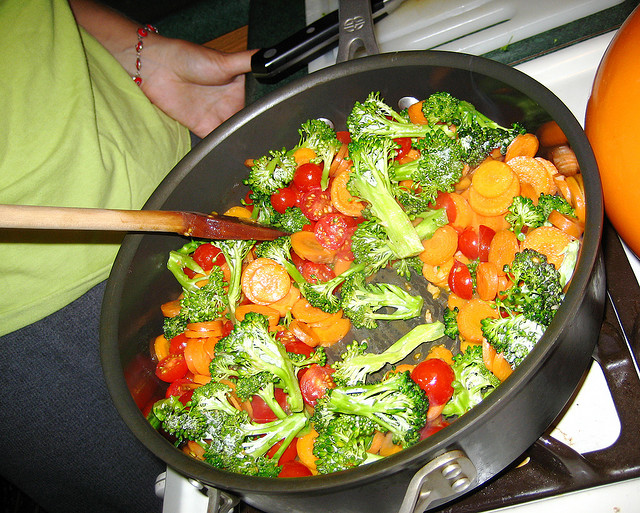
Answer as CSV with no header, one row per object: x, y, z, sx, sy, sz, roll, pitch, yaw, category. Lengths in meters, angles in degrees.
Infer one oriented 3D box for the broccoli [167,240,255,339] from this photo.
-0.356,0.124,1.840,0.109,0.251,0.343,-41,60,30,broccoli

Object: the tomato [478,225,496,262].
0.487,-0.037,1.728,0.047,0.065,0.092,12,74,-19,tomato

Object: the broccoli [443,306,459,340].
0.380,0.193,1.668,0.018,0.065,0.076,13,75,-26,broccoli

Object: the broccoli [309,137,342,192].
0.023,-0.316,1.818,0.115,0.097,0.189,-9,34,4,broccoli

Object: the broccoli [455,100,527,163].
0.486,-0.366,1.660,0.190,0.087,0.164,4,90,15,broccoli

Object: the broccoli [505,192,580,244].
0.614,-0.123,1.635,0.153,0.146,0.040,-37,113,5,broccoli

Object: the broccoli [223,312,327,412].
-0.115,0.344,1.615,0.299,0.388,0.173,10,102,-11,broccoli

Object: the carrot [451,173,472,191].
0.442,-0.228,1.779,0.048,0.041,0.061,-16,38,17,carrot

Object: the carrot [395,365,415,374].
0.241,0.323,1.659,0.029,0.035,0.015,-5,99,6,carrot

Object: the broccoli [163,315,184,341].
-0.469,0.226,1.816,0.065,0.028,0.073,6,83,3,broccoli

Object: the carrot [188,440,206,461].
-0.363,0.566,1.684,0.021,0.060,0.052,-38,78,-12,carrot

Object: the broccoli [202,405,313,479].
-0.184,0.522,1.611,0.220,0.122,0.188,-17,74,-12,broccoli

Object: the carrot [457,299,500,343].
0.434,0.185,1.626,0.099,0.022,0.119,-1,81,34,carrot

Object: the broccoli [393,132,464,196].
0.343,-0.269,1.747,0.192,0.093,0.161,-18,71,36,broccoli

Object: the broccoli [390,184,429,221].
0.271,-0.181,1.803,0.124,0.065,0.073,42,53,10,broccoli

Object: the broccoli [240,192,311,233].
-0.171,-0.164,1.933,0.136,0.261,0.130,-3,83,25,broccoli

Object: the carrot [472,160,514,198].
0.533,-0.232,1.717,0.122,0.125,0.032,2,57,-39,carrot

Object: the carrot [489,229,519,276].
0.520,-0.018,1.644,0.070,0.027,0.129,2,71,46,carrot

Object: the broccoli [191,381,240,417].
-0.304,0.447,1.672,0.135,0.116,0.063,9,38,-17,broccoli

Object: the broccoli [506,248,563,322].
0.563,0.078,1.508,0.126,0.080,0.179,13,92,35,broccoli

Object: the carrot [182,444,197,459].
-0.381,0.561,1.697,0.025,0.037,0.046,-32,84,-33,carrot

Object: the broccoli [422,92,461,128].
0.370,-0.442,1.734,0.100,0.032,0.117,9,92,8,broccoli

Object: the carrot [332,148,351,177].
0.072,-0.306,1.884,0.015,0.063,0.071,22,56,-17,carrot

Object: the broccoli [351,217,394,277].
0.161,-0.035,1.764,0.125,0.062,0.157,33,101,5,broccoli

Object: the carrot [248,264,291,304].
-0.161,0.084,1.836,0.131,0.022,0.123,-15,84,3,carrot

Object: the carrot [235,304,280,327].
-0.198,0.181,1.822,0.121,0.034,0.071,6,77,5,carrot

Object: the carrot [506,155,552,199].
0.627,-0.235,1.694,0.111,0.029,0.123,5,102,46,carrot

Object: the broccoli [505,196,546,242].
0.582,-0.108,1.658,0.098,0.118,0.036,15,73,7,broccoli

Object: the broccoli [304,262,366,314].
0.050,0.108,1.792,0.180,0.080,0.135,-38,56,-14,broccoli

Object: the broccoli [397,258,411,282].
0.269,0.043,1.791,0.036,0.018,0.067,8,99,5,broccoli

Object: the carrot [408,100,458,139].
0.362,-0.442,1.797,0.058,0.122,0.139,-40,82,-22,carrot

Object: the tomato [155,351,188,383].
-0.453,0.340,1.757,0.079,0.055,0.089,8,48,7,tomato

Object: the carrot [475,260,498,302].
0.470,0.071,1.620,0.031,0.096,0.122,3,83,-16,carrot

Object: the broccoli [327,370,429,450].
0.153,0.407,1.589,0.265,0.233,0.171,1,101,0,broccoli

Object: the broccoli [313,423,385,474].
0.078,0.474,1.533,0.147,0.115,0.093,-12,100,-27,broccoli

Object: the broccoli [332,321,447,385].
0.193,0.290,1.690,0.281,0.069,0.176,-29,29,-10,broccoli

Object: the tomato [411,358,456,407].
0.324,0.337,1.632,0.107,0.118,0.128,8,62,23,tomato

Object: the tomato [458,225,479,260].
0.448,-0.040,1.729,0.057,0.065,0.085,-27,86,22,tomato

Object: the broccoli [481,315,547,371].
0.508,0.196,1.551,0.139,0.096,0.133,41,89,7,broccoli

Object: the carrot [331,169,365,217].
0.078,-0.200,1.836,0.122,0.021,0.141,10,96,31,carrot

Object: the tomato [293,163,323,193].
-0.038,-0.258,1.901,0.081,0.079,0.080,36,91,37,tomato

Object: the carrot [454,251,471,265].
0.434,0.004,1.766,0.039,0.033,0.009,32,41,21,carrot

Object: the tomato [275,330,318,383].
-0.073,0.292,1.738,0.100,0.033,0.144,-8,60,-25,tomato

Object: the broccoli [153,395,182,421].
-0.449,0.436,1.655,0.040,0.020,0.061,2,39,9,broccoli

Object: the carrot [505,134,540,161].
0.598,-0.328,1.703,0.085,0.061,0.062,-7,84,4,carrot

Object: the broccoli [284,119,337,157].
-0.031,-0.388,1.897,0.138,0.074,0.117,-31,57,26,broccoli

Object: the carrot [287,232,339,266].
-0.025,-0.026,1.845,0.175,0.077,0.084,40,89,7,carrot

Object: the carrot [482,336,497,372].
0.461,0.269,1.579,0.018,0.053,0.079,-6,94,-31,carrot

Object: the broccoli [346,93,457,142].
0.232,-0.409,1.791,0.253,0.120,0.180,8,65,6,broccoli

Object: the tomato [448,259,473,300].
0.422,0.069,1.731,0.052,0.067,0.094,-14,101,29,tomato

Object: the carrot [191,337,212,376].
-0.361,0.302,1.749,0.072,0.027,0.099,-12,90,25,carrot

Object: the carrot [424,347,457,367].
0.354,0.286,1.665,0.048,0.049,0.021,-11,114,-16,carrot

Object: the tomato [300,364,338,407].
-0.015,0.376,1.684,0.102,0.061,0.109,-38,55,19,tomato

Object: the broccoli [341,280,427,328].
0.185,0.143,1.809,0.285,0.194,0.138,6,104,12,broccoli

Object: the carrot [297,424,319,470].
-0.038,0.551,1.649,0.080,0.049,0.116,4,90,-3,carrot

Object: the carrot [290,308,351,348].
0.017,0.235,1.767,0.146,0.033,0.122,5,102,-5,carrot

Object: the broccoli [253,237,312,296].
-0.119,0.011,1.846,0.132,0.086,0.204,-35,88,1,broccoli

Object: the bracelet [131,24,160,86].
-0.807,-0.929,2.597,0.064,0.196,0.246,-5,59,-23,bracelet

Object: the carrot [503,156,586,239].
0.720,-0.193,1.703,0.295,0.070,0.200,6,82,-31,carrot

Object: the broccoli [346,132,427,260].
0.179,-0.196,1.772,0.196,0.154,0.402,-20,69,-3,broccoli
